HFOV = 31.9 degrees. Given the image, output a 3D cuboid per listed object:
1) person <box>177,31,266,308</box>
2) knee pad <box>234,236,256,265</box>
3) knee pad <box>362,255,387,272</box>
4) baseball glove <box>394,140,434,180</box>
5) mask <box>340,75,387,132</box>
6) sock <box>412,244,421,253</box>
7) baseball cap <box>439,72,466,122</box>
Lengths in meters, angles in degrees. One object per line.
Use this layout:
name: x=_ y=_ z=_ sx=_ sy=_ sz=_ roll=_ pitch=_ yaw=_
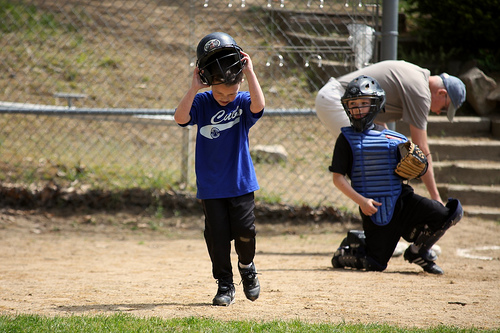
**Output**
person: x=-0.293 y=0.032 z=10.066 sx=0.915 sy=3.131 sz=0.448 roll=-1 pitch=7 yaw=-2
knee pad: x=-0.065 y=0.976 z=10.129 sx=0.228 sy=0.348 sz=0.103 roll=-2 pitch=7 yaw=-7
knee pad: x=1.515 y=1.196 z=10.722 sx=0.291 sy=0.196 sz=0.043 roll=1 pitch=7 yaw=12
baseball glove: x=1.943 y=-0.071 z=10.502 sx=0.430 sy=0.470 sz=0.279 roll=-1 pitch=7 yaw=1
mask: x=1.347 y=-0.744 z=10.517 sx=0.507 sy=0.649 sz=0.155 roll=0 pitch=7 yaw=4
sock: x=2.032 y=1.013 z=10.723 sx=0.113 sy=0.112 sz=0.020 roll=4 pitch=8 yaw=32
baseball cap: x=2.484 y=-0.848 z=10.791 sx=0.305 sy=0.602 sz=0.243 roll=1 pitch=7 yaw=11
